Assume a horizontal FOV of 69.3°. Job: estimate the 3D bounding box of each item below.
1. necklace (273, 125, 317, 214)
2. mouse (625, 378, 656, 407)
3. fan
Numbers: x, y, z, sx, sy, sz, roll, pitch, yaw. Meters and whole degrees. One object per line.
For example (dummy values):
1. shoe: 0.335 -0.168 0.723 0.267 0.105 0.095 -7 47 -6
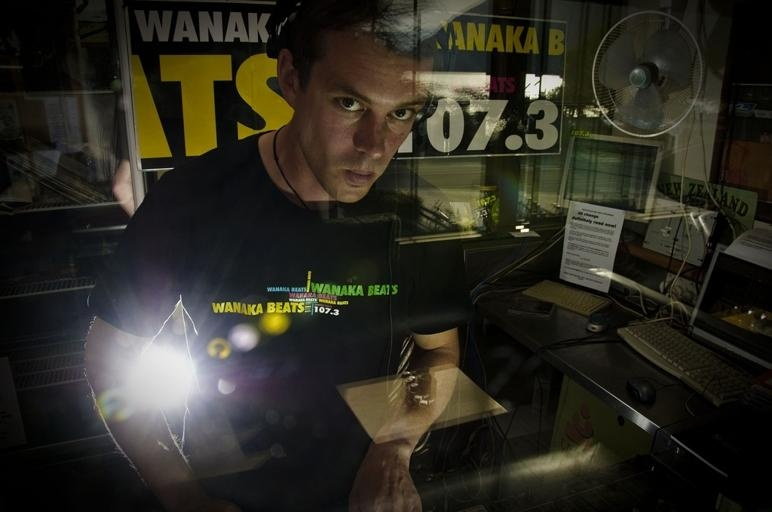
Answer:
1. necklace: -0.381 -0.324 2.254 0.147 0.271 0.037 0 12 9
2. mouse: 0.991 0.529 2.168 0.107 0.077 0.082 4 14 23
3. fan: 1.214 -0.828 2.549 0.484 0.535 0.346 13 28 44
